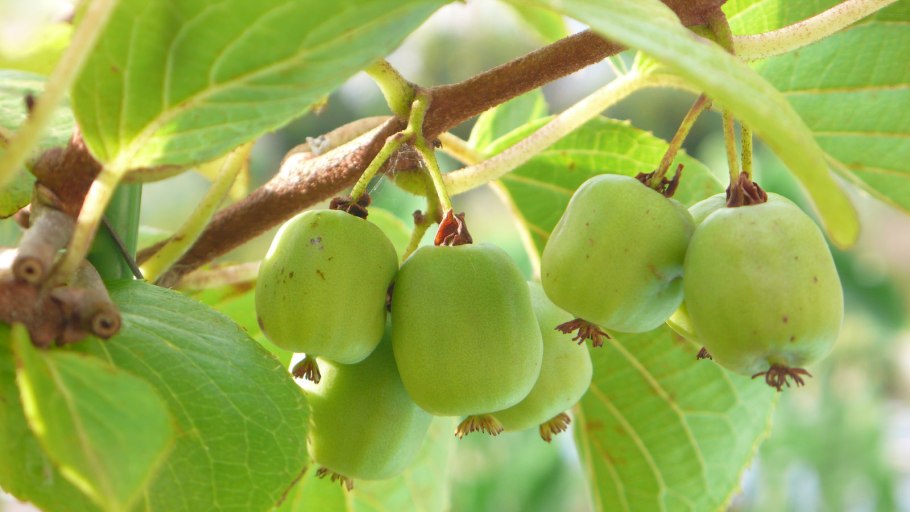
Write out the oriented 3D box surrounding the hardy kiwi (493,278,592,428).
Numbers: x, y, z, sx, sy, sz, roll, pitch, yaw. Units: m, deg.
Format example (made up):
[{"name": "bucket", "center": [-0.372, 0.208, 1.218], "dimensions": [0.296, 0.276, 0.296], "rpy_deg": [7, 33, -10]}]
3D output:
[{"name": "hardy kiwi", "center": [0.098, 0.133, 1.260], "dimensions": [0.144, 0.177, 0.111], "rpy_deg": [-15, -3, -5]}]
